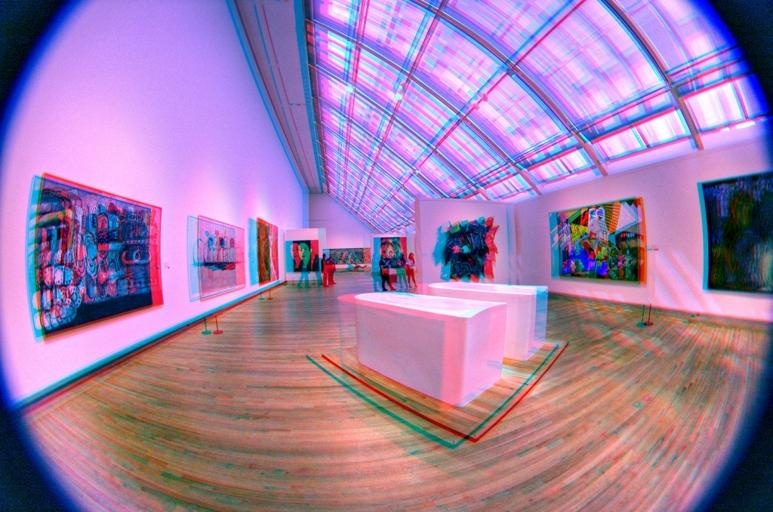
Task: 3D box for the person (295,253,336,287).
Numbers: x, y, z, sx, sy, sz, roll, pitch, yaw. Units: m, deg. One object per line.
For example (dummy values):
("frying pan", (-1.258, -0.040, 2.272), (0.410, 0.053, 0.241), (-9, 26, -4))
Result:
("person", (-3.389, 0.682, 19.424), (1.049, 1.549, 2.612), (0, -4, -37))
